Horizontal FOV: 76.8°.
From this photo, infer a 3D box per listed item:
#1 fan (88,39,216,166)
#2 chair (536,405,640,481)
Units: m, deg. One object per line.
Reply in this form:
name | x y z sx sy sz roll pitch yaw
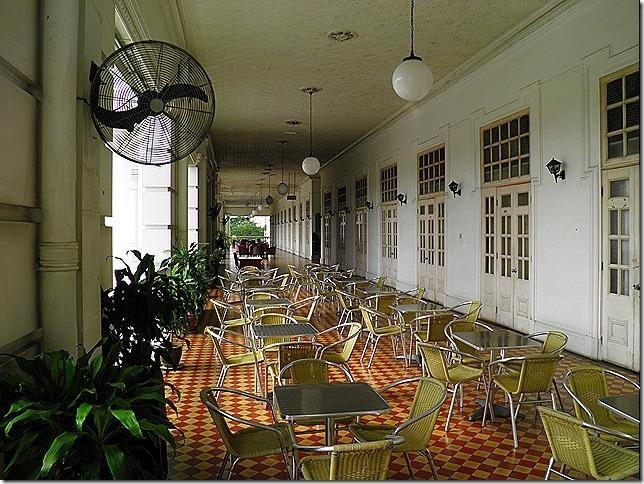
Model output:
fan | -1.259 -0.852 2.889 0.794 0.151 0.835 -9 -44 0
chair | 1.648 1.189 2.458 0.636 0.369 0.317 2 -1 -21
